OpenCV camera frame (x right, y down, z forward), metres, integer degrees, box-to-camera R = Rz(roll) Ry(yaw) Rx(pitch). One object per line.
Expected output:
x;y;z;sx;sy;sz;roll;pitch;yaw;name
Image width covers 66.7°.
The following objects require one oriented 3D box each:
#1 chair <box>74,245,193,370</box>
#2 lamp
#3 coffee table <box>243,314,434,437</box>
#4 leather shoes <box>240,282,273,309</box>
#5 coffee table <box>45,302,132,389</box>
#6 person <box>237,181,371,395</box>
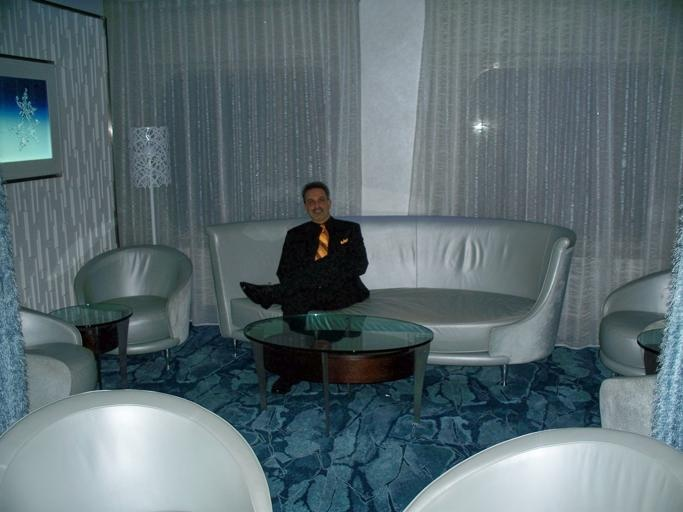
-1.523;0.339;3.857;0.837;0.696;0.708;2;18;-2;chair
-1.647;-0.618;4.557;0.348;1.054;0.772;-6;14;-21;lamp
-0.025;0.674;3.009;1.060;0.555;0.568;1;13;7;coffee table
-0.595;0.267;3.672;0.273;0.169;0.141;2;13;12;leather shoes
-1.459;0.602;3.168;0.327;0.318;0.309;-23;-4;1;coffee table
-0.222;0.158;3.832;0.983;1.356;0.586;-6;4;-39;person
